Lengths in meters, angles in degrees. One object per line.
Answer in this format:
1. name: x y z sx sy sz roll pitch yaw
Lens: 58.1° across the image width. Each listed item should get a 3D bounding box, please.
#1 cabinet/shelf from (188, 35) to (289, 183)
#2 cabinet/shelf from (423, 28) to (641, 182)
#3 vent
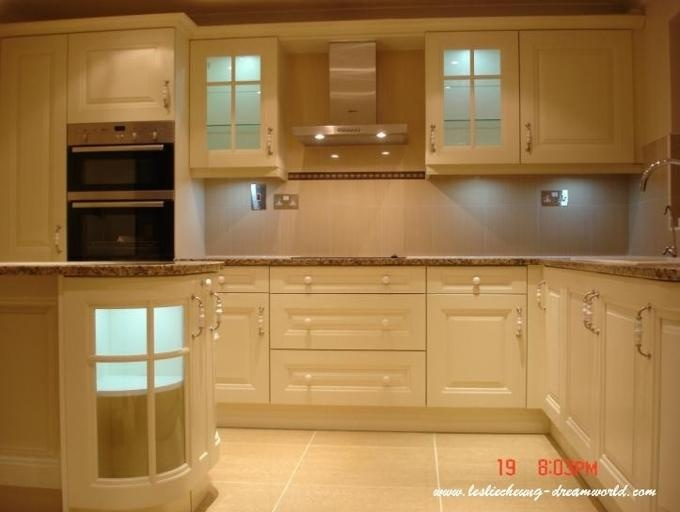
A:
1. cabinet/shelf: -0.758 -0.981 4.320 0.689 0.852 0.629 -2 2 -24
2. cabinet/shelf: 1.256 -1.046 3.987 1.480 1.027 0.877 0 0 7
3. vent: 0.089 -1.184 4.275 0.724 0.648 0.401 0 14 2
